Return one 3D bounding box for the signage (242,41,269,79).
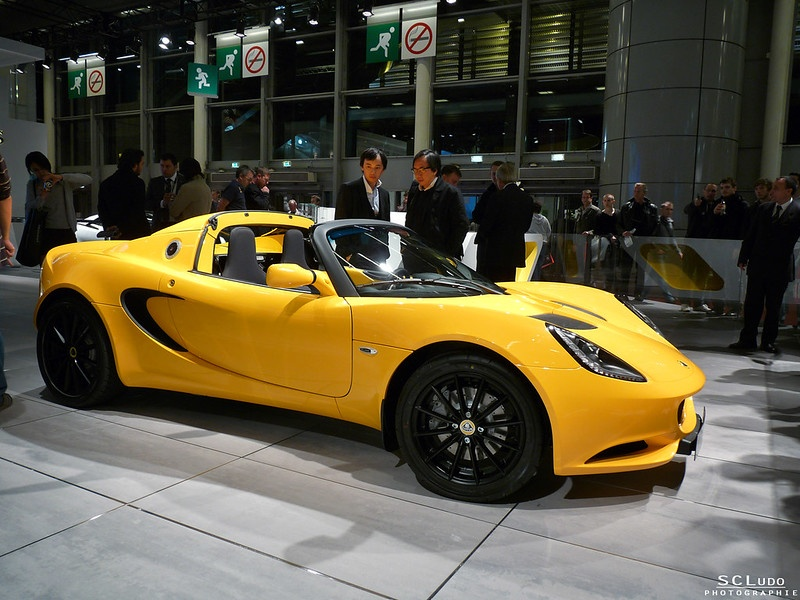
[{"bbox_3d":[-4.977,-8.243,17.068,1.379,1.298,0.130,1,6,24],"label":"signage"}]

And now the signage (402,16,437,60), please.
[{"bbox_3d":[0.498,-7.284,13.807,1.293,1.211,0.061,4,7,25],"label":"signage"}]

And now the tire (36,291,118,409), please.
[{"bbox_3d":[-2.174,0.331,3.389,0.778,0.730,0.249,-7,-2,23],"label":"tire"}]

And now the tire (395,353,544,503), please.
[{"bbox_3d":[0.343,0.612,2.403,0.597,0.574,0.207,-23,1,29],"label":"tire"}]

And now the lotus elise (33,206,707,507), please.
[{"bbox_3d":[-0.334,0.167,3.265,3.896,1.173,1.819,6,8,21],"label":"lotus elise"}]

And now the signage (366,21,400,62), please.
[{"bbox_3d":[-0.474,-7.307,14.133,1.262,1.171,0.125,1,6,19],"label":"signage"}]

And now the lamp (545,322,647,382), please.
[{"bbox_3d":[0.871,0.265,2.294,0.383,0.094,0.233,33,34,22],"label":"lamp"}]
